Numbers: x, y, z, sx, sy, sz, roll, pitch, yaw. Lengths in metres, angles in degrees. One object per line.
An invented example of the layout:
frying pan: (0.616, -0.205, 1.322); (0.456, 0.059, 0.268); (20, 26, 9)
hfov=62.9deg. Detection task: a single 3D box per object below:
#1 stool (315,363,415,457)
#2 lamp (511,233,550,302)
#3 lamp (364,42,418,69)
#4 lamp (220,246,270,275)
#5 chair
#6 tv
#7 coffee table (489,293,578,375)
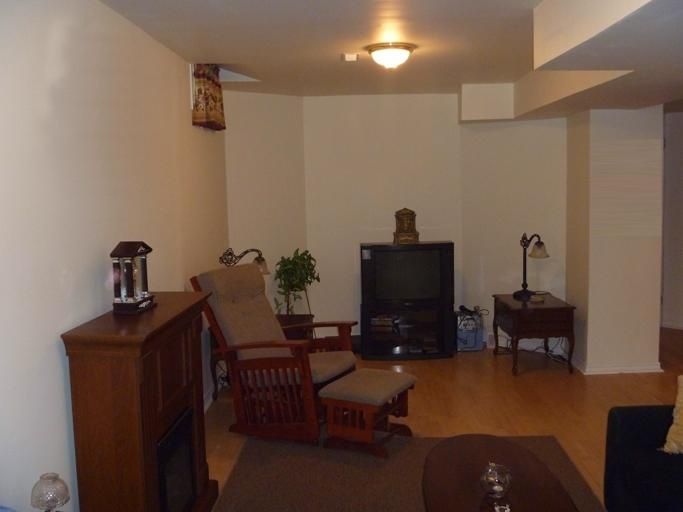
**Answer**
stool: (0.188, 1.120, 4.093); (0.536, 0.460, 0.622); (0, 4, 26)
lamp: (1.959, 0.088, 5.761); (0.310, 0.656, 0.728); (2, 10, 20)
lamp: (0.387, -1.523, 4.252); (0.394, 0.150, 0.275); (-1, 9, 1)
lamp: (-0.884, 0.022, 4.971); (0.457, 0.235, 0.243); (3, 9, 12)
chair: (-0.478, 0.704, 4.351); (1.055, 1.203, 0.812); (0, 5, 30)
tv: (0.651, 0.142, 6.033); (1.049, 0.692, 0.599); (0, 11, -10)
coffee table: (1.965, 0.740, 5.632); (0.769, 0.683, 0.863); (0, 9, 8)
